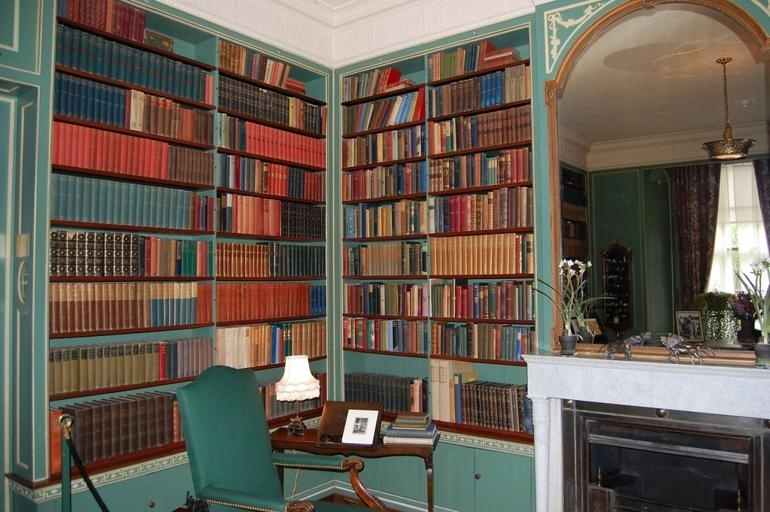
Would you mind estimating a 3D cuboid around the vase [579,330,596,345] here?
[{"bbox_3d":[1.678,0.680,5.365,0.092,0.072,0.096,4,-8,-26],"label":"vase"}]

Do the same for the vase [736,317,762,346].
[{"bbox_3d":[2.751,0.577,4.911,0.174,0.169,0.174,1,-4,-13],"label":"vase"}]

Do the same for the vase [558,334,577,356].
[{"bbox_3d":[1.471,0.720,5.213,0.155,0.170,0.154,4,-8,-20],"label":"vase"}]

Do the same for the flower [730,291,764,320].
[{"bbox_3d":[2.745,0.375,4.896,0.176,0.192,0.182,-3,-7,38],"label":"flower"}]

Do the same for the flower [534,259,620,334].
[{"bbox_3d":[1.620,0.356,5.548,0.554,0.506,0.570,4,-7,-20],"label":"flower"}]

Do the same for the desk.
[{"bbox_3d":[-0.226,1.808,5.510,0.979,0.608,0.320,-3,-8,23],"label":"desk"}]

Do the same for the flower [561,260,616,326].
[{"bbox_3d":[1.609,0.297,5.407,0.529,0.572,0.387,0,-1,30],"label":"flower"}]

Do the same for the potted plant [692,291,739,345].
[{"bbox_3d":[2.476,0.481,5.043,0.273,0.379,0.372,7,-17,-2],"label":"potted plant"}]
